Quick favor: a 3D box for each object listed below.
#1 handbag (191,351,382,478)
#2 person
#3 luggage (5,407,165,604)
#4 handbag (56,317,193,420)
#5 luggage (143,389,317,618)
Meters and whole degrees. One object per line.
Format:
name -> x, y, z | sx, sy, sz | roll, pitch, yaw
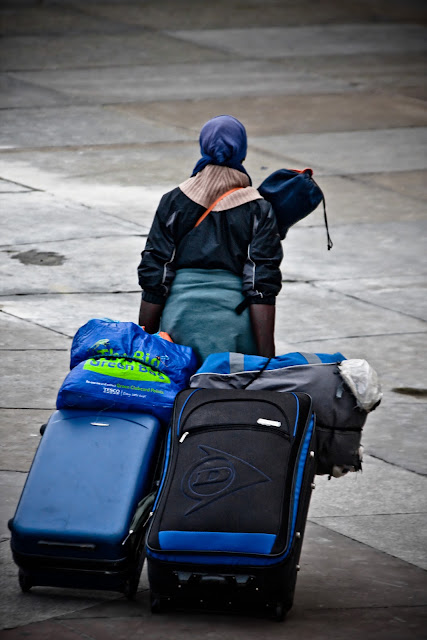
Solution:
handbag -> 0.211, 0.366, 2.909 | 0.731, 0.382, 0.399 | 5, -11, -8
person -> -0.014, -0.379, 3.467 | 0.575, 1.123, 0.441 | 2, 0, 42
luggage -> -0.409, 0.672, 2.795 | 0.567, 0.333, 0.611 | 5, 50, 7
handbag -> -0.348, 0.204, 2.872 | 0.480, 0.149, 0.403 | 13, 48, 1
luggage -> 0.102, 0.588, 2.606 | 0.597, 0.409, 0.720 | 5, 55, 11
